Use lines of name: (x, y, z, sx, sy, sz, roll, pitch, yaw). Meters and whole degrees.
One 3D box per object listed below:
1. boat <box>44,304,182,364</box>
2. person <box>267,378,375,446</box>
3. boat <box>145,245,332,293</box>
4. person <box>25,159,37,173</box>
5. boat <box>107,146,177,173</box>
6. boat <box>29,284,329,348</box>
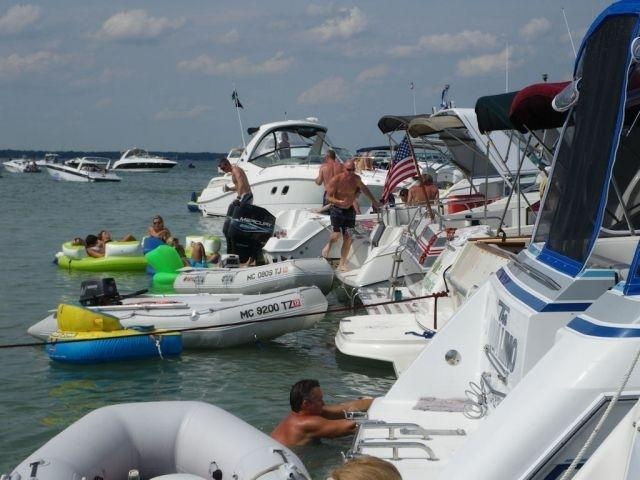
boat: (-2.403, 1.093, 8.603, 1.128, 0.431, 0.788, -1, 0, -20)
person: (-0.004, 1.543, 6.447, 0.923, 0.582, 0.478, 0, 12, -5)
boat: (-1.376, 0.416, 12.111, 2.729, 0.724, 1.225, -4, 12, 16)
person: (-26.426, -6.753, 68.519, 0.886, 0.545, 1.264, 1, 14, -17)
boat: (-17.675, -7.856, 73.985, 5.538, 2.393, 3.942, -4, 11, -21)
boat: (-1.300, 0.905, 9.191, 2.560, 0.413, 1.356, -3, -1, 6)
